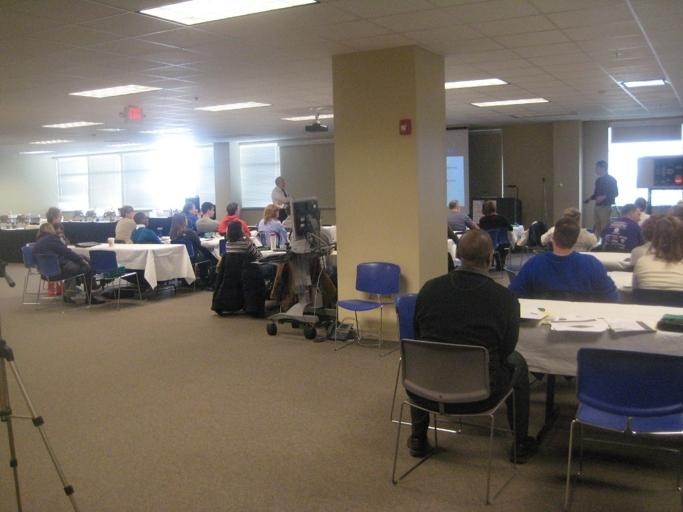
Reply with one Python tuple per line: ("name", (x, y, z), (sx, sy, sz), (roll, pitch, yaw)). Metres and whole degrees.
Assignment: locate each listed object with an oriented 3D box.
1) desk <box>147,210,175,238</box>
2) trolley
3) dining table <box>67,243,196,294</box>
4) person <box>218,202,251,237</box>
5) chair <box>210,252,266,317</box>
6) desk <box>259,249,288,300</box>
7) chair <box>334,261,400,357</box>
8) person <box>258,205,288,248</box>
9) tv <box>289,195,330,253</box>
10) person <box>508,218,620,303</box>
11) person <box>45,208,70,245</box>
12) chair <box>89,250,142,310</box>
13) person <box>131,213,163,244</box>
("desk", (-4.302, -0.765, 13.221), (0.959, 0.678, 0.526), (8, 11, 41))
("trolley", (-0.440, 0.454, 7.439), (0.998, 1.573, 1.060), (6, 8, 38))
("dining table", (-3.248, 0.087, 9.284), (1.519, 0.441, 0.923), (3, 6, 26))
("person", (-1.918, -0.606, 9.801), (0.706, 0.641, 0.422), (5, 5, 32))
("chair", (-1.465, 0.427, 7.974), (0.764, 0.809, 0.459), (3, 18, 5))
("desk", (-0.891, 0.245, 7.410), (0.230, 0.677, 0.652), (5, 3, -19))
("chair", (0.352, 0.574, 6.516), (0.676, 1.011, 0.843), (0, 9, 6))
("person", (-1.247, -0.542, 9.596), (0.421, 0.463, 0.833), (-11, -33, -12))
("tv", (-0.396, -0.359, 6.990), (0.561, 0.741, 0.220), (-6, 11, -28))
("person", (1.845, 0.075, 4.649), (0.845, 0.778, 0.486), (-1, 14, 19))
("person", (-4.958, -0.448, 9.530), (0.269, 0.842, 0.338), (32, 32, 35))
("chair", (-3.786, 0.294, 9.281), (0.746, 0.948, 1.151), (-5, 10, -21))
("person", (-3.846, -0.524, 10.909), (0.748, 0.683, 0.388), (2, 14, 18))
